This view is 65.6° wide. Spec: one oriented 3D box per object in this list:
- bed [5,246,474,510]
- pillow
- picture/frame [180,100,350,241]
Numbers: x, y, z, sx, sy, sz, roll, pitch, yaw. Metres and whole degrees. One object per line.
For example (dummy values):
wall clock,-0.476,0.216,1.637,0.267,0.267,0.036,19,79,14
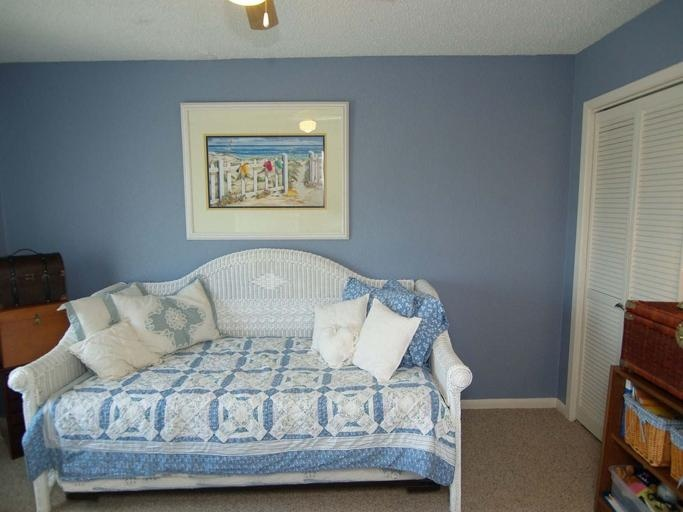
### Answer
bed,-0.626,0.817,3.833,2.906,1.611,1.184,-1,9,1
pillow,-1.446,0.505,3.866,0.844,0.583,0.261,-13,-22,-42
picture/frame,-0.632,-0.744,4.288,1.020,0.920,0.050,0,6,-2
